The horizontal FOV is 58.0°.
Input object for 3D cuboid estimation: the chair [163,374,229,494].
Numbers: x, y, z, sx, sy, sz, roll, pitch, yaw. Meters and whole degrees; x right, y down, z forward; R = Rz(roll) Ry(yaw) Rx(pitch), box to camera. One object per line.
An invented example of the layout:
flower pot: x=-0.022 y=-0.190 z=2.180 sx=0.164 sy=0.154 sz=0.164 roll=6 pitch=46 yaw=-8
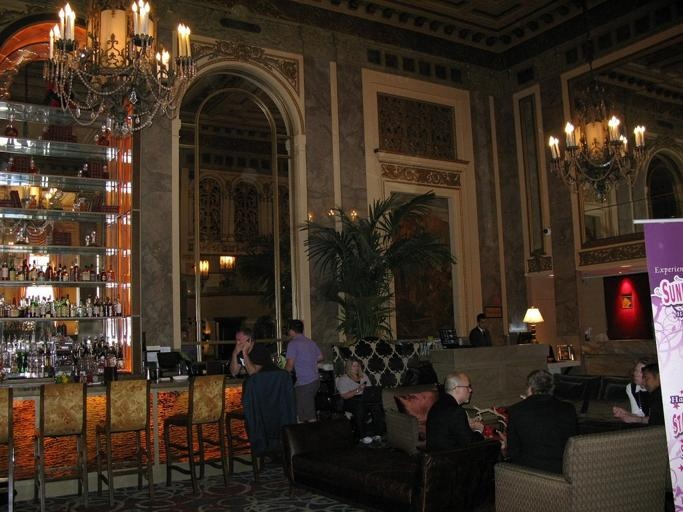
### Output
chair: x=-1.607 y=1.959 z=6.957 sx=0.757 sy=1.203 sz=0.870 roll=1 pitch=-8 yaw=-23

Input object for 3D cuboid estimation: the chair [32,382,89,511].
chair: x=-2.873 y=1.925 z=6.344 sx=0.494 sy=1.233 sz=0.784 roll=2 pitch=-8 yaw=-26

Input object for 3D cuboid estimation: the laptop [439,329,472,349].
laptop: x=1.822 y=1.342 z=9.892 sx=0.481 sy=0.300 sz=0.459 roll=4 pitch=-9 yaw=-32

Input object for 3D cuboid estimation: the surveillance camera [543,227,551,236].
surveillance camera: x=4.097 y=-0.482 z=12.249 sx=0.162 sy=0.170 sz=0.040 roll=1 pitch=1 yaw=43

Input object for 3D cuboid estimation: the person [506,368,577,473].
person: x=1.661 y=1.515 z=5.067 sx=0.497 sy=1.474 sz=0.440 roll=-6 pitch=25 yaw=17

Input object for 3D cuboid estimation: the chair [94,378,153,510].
chair: x=-2.329 y=1.949 z=6.607 sx=0.582 sy=1.235 sz=0.840 roll=0 pitch=-8 yaw=-19

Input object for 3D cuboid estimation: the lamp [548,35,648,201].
lamp: x=4.244 y=-2.258 z=10.396 sx=1.237 sy=2.375 sz=1.384 roll=-4 pitch=-7 yaw=-2

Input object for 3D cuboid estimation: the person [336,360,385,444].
person: x=0.265 y=1.760 z=7.647 sx=0.423 sy=0.933 sz=0.562 roll=-7 pitch=0 yaw=-33

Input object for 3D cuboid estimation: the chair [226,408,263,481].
chair: x=-1.114 y=2.147 z=7.116 sx=0.443 sy=0.776 sz=0.995 roll=-1 pitch=-8 yaw=-10

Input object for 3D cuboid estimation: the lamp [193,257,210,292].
lamp: x=-2.238 y=0.295 z=10.063 sx=0.181 sy=0.517 sz=0.049 roll=5 pitch=-10 yaw=-44
